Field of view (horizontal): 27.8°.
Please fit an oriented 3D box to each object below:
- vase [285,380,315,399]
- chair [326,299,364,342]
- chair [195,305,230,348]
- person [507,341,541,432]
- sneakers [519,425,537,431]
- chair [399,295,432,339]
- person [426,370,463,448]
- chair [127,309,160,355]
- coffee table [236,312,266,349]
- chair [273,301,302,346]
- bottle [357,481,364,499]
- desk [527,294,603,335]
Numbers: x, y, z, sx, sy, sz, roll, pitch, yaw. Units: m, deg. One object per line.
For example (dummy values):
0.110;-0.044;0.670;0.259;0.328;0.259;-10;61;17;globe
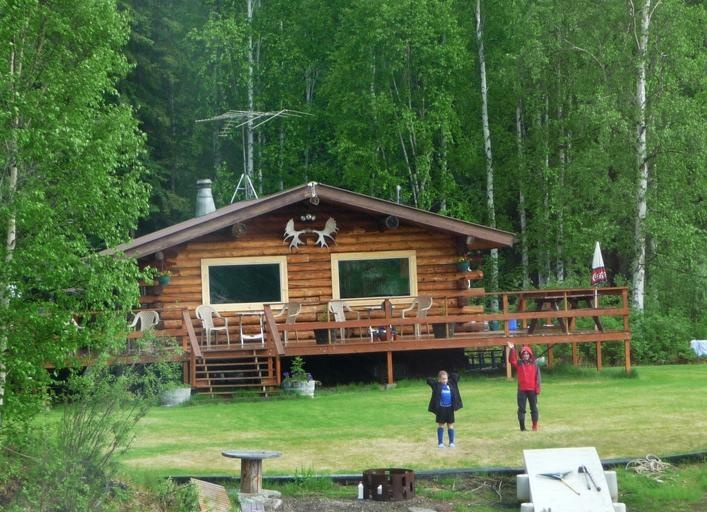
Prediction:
-1.588;3.905;41.678;0.839;0.525;0.501;-3;-5;-12;vase
-0.331;2.001;44.205;0.967;1.261;2.419;-4;-5;0;chair
-4.333;2.149;43.224;0.929;1.223;0.940;0;2;34;chair
4.530;3.513;37.702;0.619;2.203;1.315;-4;-5;5;person
4.503;4.503;37.130;0.435;0.117;0.284;-5;-5;11;sneakers
1.989;1.916;44.741;1.176;1.659;1.167;-3;-5;45;chair
2.298;3.947;36.672;0.815;1.958;1.092;-4;-5;2;person
-6.298;2.343;42.702;0.837;1.291;1.006;7;8;20;chair
-3.204;2.324;44.347;0.951;1.102;0.919;3;-8;-34;coffee table
-2.117;2.028;43.967;1.083;1.540;1.058;3;-3;-43;chair
0.131;5.641;34.153;0.168;0.387;0.189;-4;-5;-1;bottle
6.680;2.016;46.634;2.193;1.291;6.904;-5;-5;7;desk
